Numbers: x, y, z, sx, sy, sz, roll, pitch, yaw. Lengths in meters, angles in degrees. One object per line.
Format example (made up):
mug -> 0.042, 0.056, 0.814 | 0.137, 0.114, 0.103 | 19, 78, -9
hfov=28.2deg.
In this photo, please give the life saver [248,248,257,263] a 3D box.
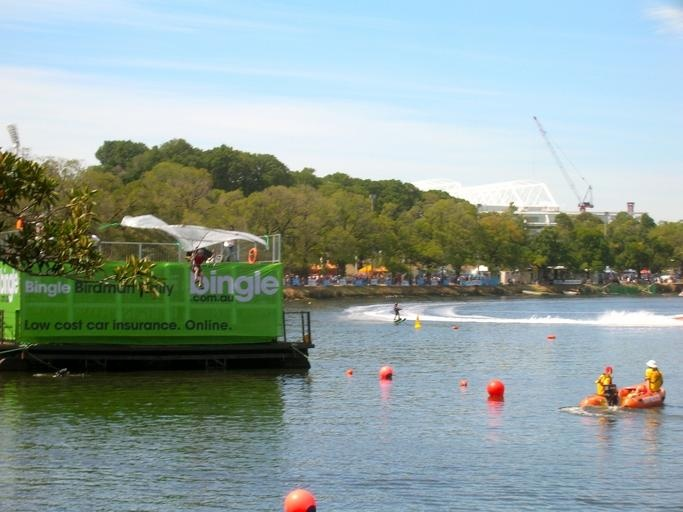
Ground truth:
life saver -> -4.699, 0.086, 70.655 | 0.259, 0.733, 0.830 | 8, 2, -28
